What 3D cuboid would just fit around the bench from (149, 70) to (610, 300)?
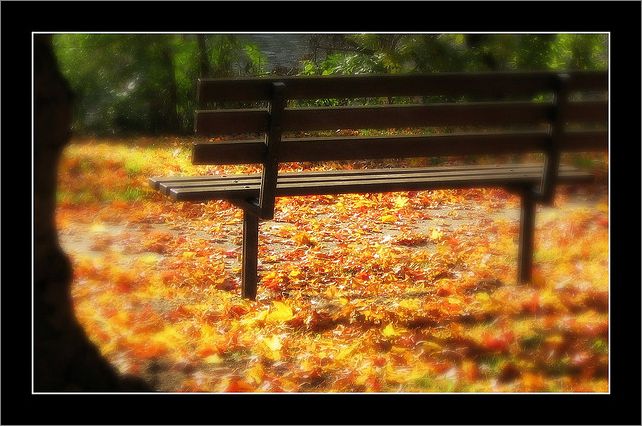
[{"bbox_3d":[0.490,-0.156,3.293,2.709,1.162,0.811,-4,1,-17],"label":"bench"}]
